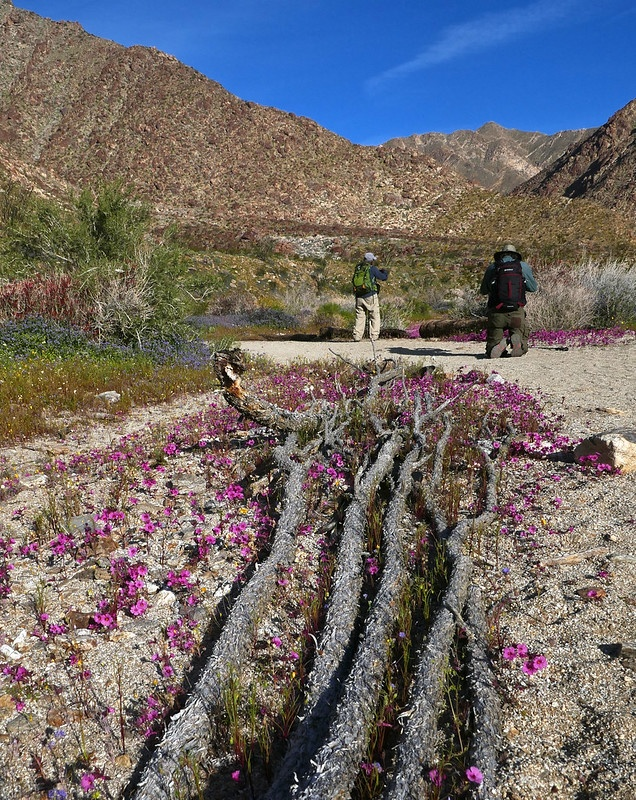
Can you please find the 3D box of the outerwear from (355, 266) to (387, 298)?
[{"bbox_3d":[1.100,-2.463,13.725,0.571,0.691,0.667,6,5,40],"label":"outerwear"}]

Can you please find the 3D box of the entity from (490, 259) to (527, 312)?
[{"bbox_3d":[2.855,-1.761,10.184,0.523,0.804,0.426,3,10,21],"label":"entity"}]

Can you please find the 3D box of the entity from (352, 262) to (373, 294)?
[{"bbox_3d":[0.920,-2.486,13.675,0.509,0.708,0.451,5,11,30],"label":"entity"}]

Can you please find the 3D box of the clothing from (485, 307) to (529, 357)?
[{"bbox_3d":[2.961,-1.080,10.577,0.687,1.052,0.361,-1,29,8],"label":"clothing"}]

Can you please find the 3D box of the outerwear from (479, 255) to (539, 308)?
[{"bbox_3d":[2.943,-1.859,10.430,0.681,0.923,0.890,10,18,42],"label":"outerwear"}]

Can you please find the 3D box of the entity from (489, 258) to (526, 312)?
[{"bbox_3d":[2.908,-1.818,10.249,0.559,0.818,0.512,-16,24,-25],"label":"entity"}]
